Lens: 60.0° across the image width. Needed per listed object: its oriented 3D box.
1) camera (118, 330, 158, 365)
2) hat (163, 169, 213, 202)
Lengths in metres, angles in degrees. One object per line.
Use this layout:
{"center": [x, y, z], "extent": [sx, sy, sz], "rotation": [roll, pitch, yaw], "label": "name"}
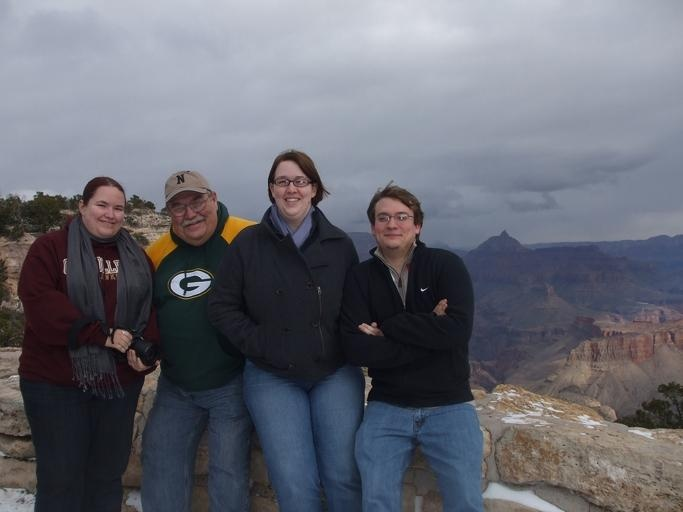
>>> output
{"center": [-1.656, 0.816, 4.952], "extent": [0.285, 0.281, 0.154], "rotation": [31, 62, 35], "label": "camera"}
{"center": [-1.432, -0.654, 5.446], "extent": [0.393, 0.296, 0.561], "rotation": [-15, 2, -6], "label": "hat"}
